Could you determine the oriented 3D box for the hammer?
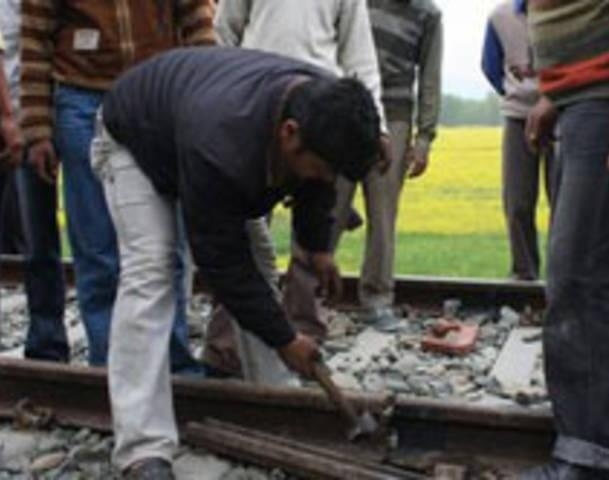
[{"bbox_3d":[0.116,0.596,2.334,0.218,0.341,0.140,-39,15,-34],"label":"hammer"}]
